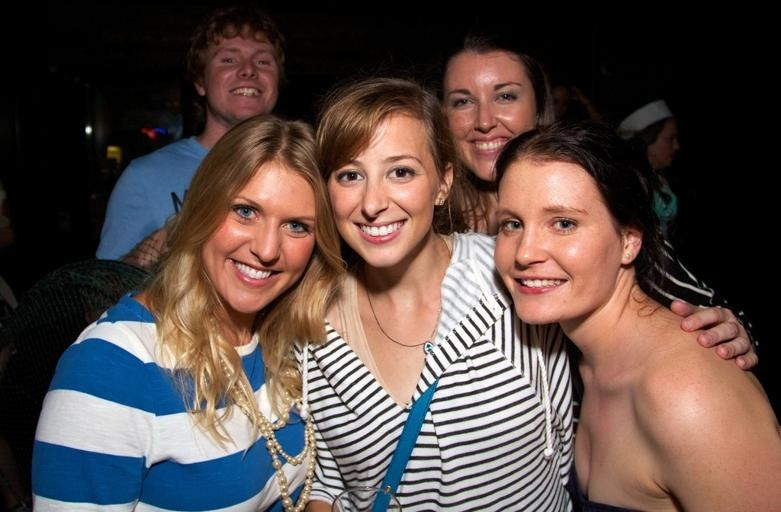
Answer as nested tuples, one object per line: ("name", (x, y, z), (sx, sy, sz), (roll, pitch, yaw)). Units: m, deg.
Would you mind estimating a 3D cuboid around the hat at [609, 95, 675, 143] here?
("hat", (2.546, -1.371, 6.438), (0.545, 0.413, 0.377), (2, 7, -20))
